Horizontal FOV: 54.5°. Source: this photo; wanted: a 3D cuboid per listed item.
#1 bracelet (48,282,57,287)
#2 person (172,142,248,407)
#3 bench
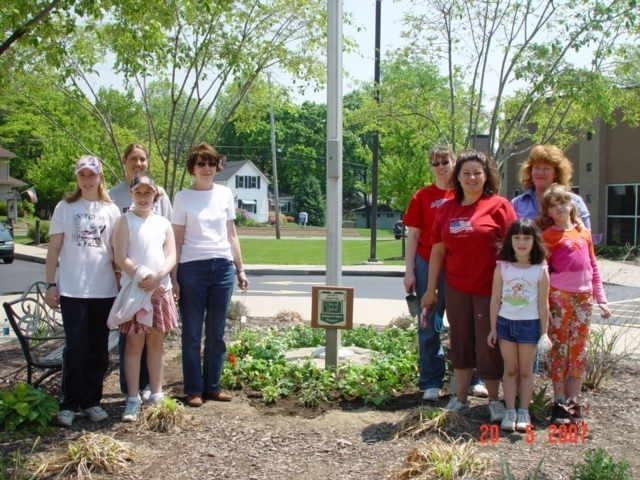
[{"bbox_3d":[-2.483,0.419,5.776,0.080,0.033,0.075,1,-1,-24],"label":"bracelet"},{"bbox_3d":[-1.141,0.321,6.407,0.646,2.656,0.596,0,0,13],"label":"person"},{"bbox_3d":[-2.606,1.046,6.357,0.413,0.680,1.156,0,3,-8],"label":"bench"}]
